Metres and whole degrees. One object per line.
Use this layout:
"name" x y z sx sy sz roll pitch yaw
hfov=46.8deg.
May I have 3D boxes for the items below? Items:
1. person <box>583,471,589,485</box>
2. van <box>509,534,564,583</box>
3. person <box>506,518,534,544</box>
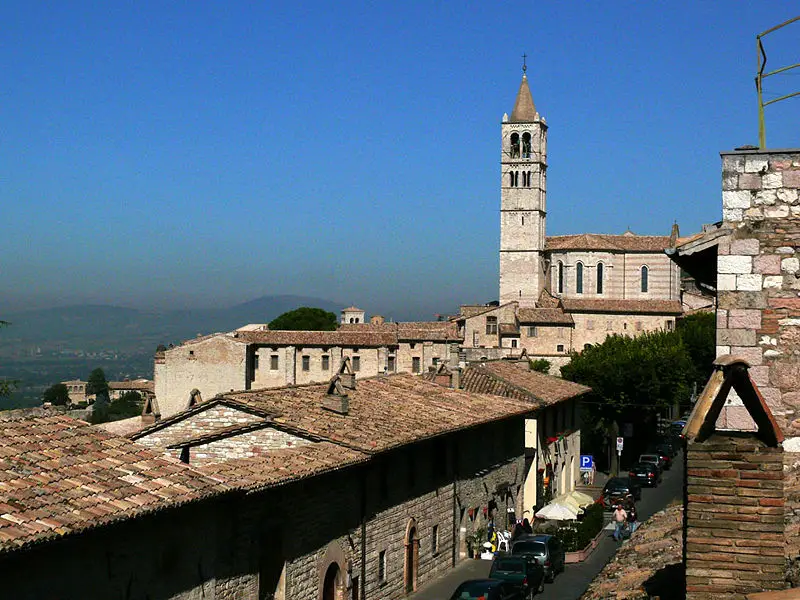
"person" 11.411 10.653 55.871 0.537 0.763 0.530 -3 -3 15
"van" 5.301 9.239 33.882 1.137 0.868 2.329 0 4 18
"person" 5.570 10.363 41.570 1.123 0.790 2.396 -3 -7 5
